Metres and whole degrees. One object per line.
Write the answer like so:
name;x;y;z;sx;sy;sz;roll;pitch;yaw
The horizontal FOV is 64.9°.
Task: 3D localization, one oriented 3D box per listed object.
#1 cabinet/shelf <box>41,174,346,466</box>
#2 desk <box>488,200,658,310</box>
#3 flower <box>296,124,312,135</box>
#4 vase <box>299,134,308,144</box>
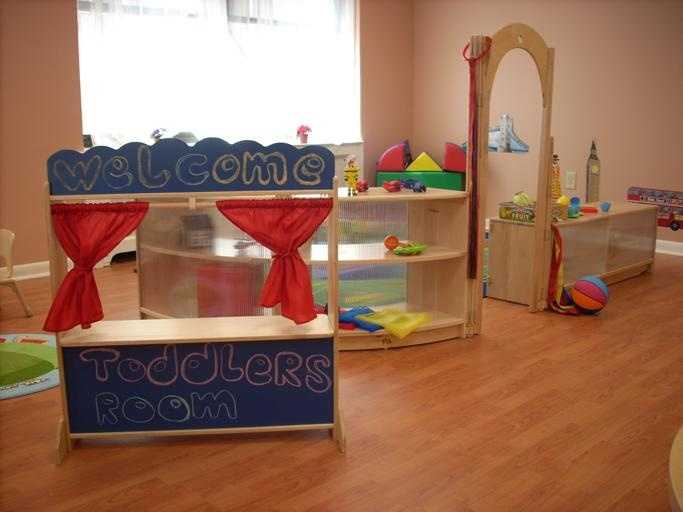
cabinet/shelf;-0.695;0.324;2.634;1.315;1.361;0.685;-1;7;-7
desk;2.045;-0.059;4.719;1.796;0.673;0.513;-9;15;-33
flower;-0.455;-1.576;6.720;0.128;0.094;0.130;9;14;40
vase;-0.463;-1.462;6.721;0.114;0.124;0.116;7;23;23
